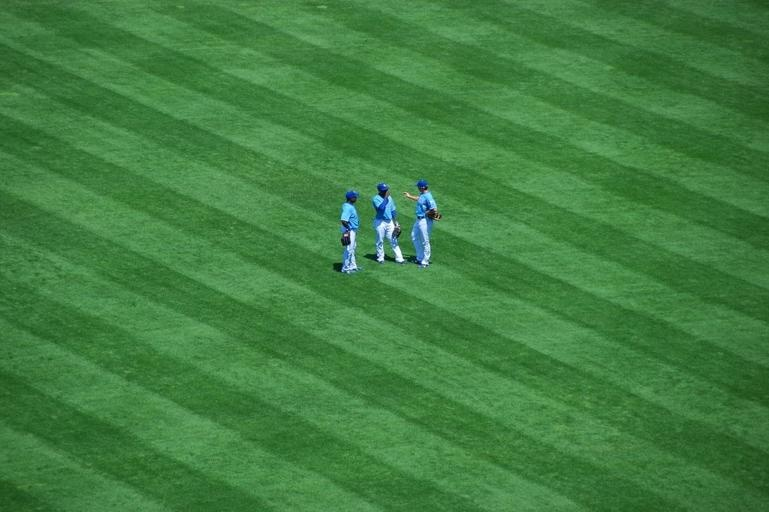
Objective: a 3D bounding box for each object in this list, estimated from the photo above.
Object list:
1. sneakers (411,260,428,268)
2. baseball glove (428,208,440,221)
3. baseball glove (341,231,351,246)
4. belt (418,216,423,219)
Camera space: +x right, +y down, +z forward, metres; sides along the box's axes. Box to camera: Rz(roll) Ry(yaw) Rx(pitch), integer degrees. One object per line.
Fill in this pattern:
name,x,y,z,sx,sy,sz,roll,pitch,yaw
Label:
sneakers,0.981,0.225,54.920,0.444,0.256,0.135,18,43,16
baseball glove,1.315,-1.039,54.600,0.324,0.711,0.264,-5,81,-1
baseball glove,-0.896,-0.390,54.025,0.275,0.307,0.343,1,23,12
belt,0.971,-0.974,54.406,0.139,0.038,0.083,3,79,-1
